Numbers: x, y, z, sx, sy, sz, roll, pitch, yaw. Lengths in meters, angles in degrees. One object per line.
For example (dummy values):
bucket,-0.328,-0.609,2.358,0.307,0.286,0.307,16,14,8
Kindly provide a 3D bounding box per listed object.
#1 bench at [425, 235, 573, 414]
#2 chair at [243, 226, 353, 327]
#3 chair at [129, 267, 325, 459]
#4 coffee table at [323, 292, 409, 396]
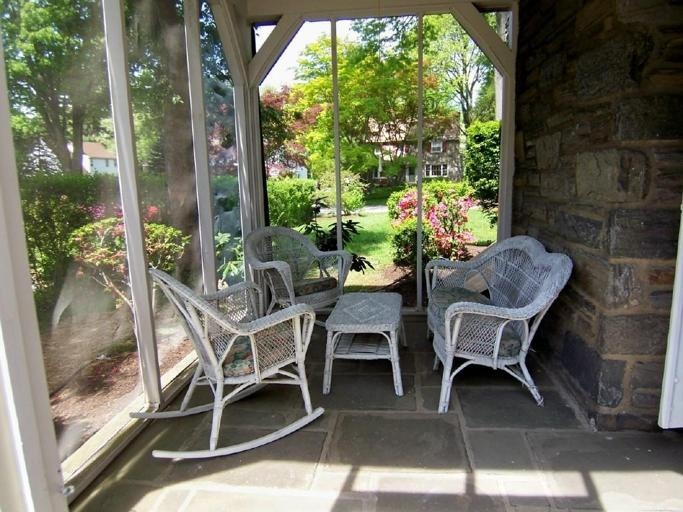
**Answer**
bench,1.059,0.392,3.399,0.802,0.941,1.459,-1,12,6
chair,-0.389,0.154,4.109,0.803,0.858,0.756,-10,14,-30
chair,-0.700,0.575,2.933,1.227,1.056,0.866,-9,14,-44
coffee table,0.182,0.528,3.393,0.572,0.439,0.899,-1,6,5
